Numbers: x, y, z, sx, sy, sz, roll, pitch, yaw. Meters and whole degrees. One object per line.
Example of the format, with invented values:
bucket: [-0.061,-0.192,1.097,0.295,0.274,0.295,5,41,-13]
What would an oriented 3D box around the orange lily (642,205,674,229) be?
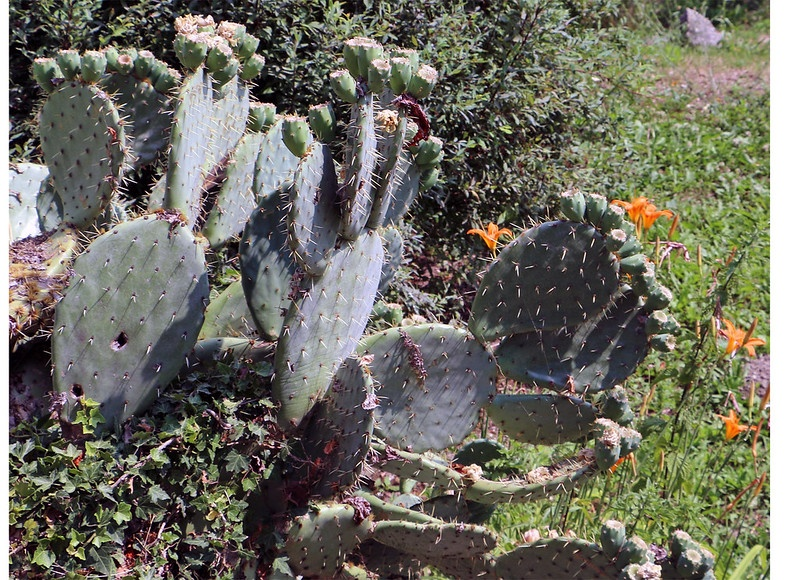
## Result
orange lily: [1.398,-0.384,5.485,0.189,0.087,0.203,17,17,11]

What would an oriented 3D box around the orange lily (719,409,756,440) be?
orange lily: [1.450,0.585,4.397,0.117,0.131,0.365,-3,-10,18]

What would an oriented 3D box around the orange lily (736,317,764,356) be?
orange lily: [1.456,0.175,4.285,0.115,0.130,0.099,11,-17,-30]

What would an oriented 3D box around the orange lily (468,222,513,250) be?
orange lily: [0.409,-0.243,4.510,0.167,0.147,0.209,-3,-4,4]

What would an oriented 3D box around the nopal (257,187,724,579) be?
nopal: [0.394,0.438,4.116,1.295,1.871,0.536,33,-24,-16]

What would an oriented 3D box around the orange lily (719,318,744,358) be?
orange lily: [1.379,0.192,4.297,0.126,0.063,0.132,7,31,-50]
